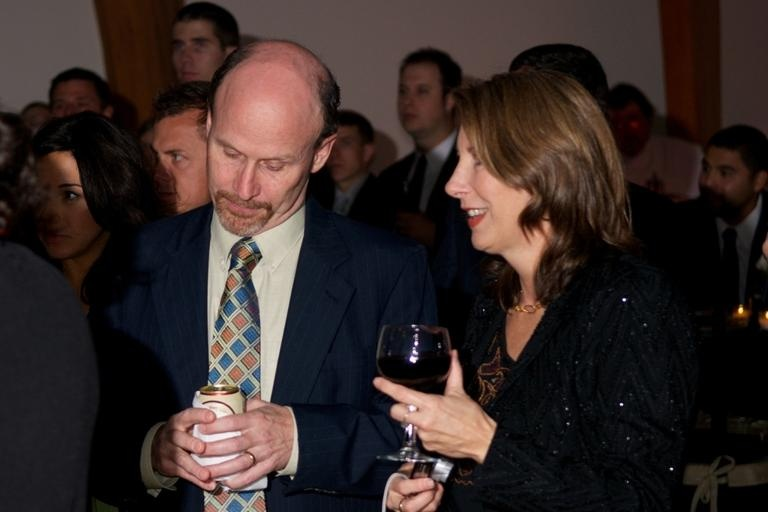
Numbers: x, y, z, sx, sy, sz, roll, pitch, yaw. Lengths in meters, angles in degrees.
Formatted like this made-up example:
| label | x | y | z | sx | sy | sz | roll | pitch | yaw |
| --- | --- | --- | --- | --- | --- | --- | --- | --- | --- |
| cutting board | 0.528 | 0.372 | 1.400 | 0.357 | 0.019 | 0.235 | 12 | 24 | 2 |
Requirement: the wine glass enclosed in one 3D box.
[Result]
| label | x | y | z | sx | sy | sz | roll | pitch | yaw |
| --- | --- | --- | --- | --- | --- | --- | --- | --- | --- |
| wine glass | 0.089 | 0.461 | 2.314 | 0.221 | 0.493 | 0.190 | -4 | 6 | -33 |

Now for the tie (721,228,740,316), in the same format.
| label | x | y | z | sx | sy | sz | roll | pitch | yaw |
| --- | --- | --- | --- | --- | --- | --- | --- | --- | --- |
| tie | 1.880 | 0.070 | 3.896 | 0.084 | 0.450 | 0.063 | 3 | 15 | 36 |

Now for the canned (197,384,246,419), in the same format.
| label | x | y | z | sx | sy | sz | roll | pitch | yaw |
| --- | --- | --- | --- | --- | --- | --- | --- | --- | --- |
| canned | -0.497 | 0.435 | 2.144 | 0.103 | 0.093 | 0.104 | 1 | -12 | -1 |

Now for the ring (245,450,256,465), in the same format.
| label | x | y | z | sx | sy | sz | roll | pitch | yaw |
| --- | --- | --- | --- | --- | --- | --- | --- | --- | --- |
| ring | -0.400 | 0.614 | 2.185 | 0.035 | 0.035 | 0.035 | -23 | -28 | -13 |
